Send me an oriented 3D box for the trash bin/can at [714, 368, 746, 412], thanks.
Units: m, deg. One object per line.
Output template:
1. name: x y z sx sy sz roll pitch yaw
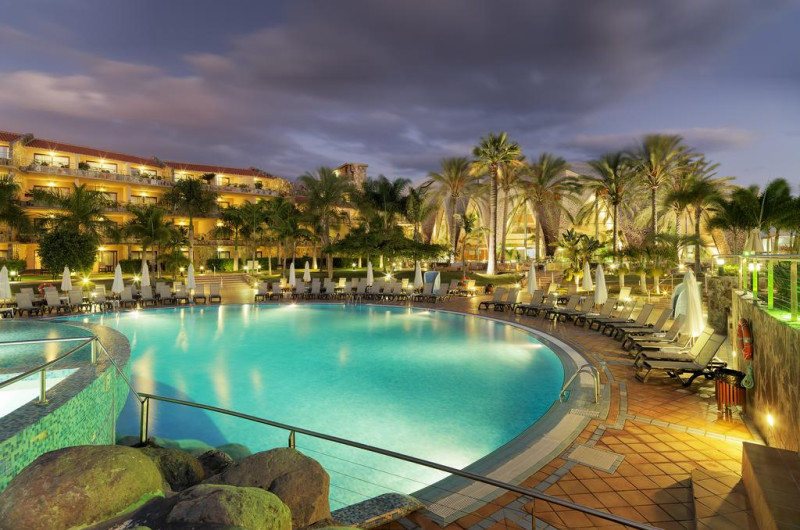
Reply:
1. trash bin/can: 7.948 3.016 11.900 0.581 0.991 0.416 0 0 30

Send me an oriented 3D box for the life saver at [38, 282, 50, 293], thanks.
1. life saver: -19.843 1.239 27.528 0.645 0.380 0.743 3 -3 -28

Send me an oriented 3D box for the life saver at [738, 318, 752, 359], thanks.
1. life saver: 8.437 1.791 12.010 0.244 0.938 0.567 0 0 33
